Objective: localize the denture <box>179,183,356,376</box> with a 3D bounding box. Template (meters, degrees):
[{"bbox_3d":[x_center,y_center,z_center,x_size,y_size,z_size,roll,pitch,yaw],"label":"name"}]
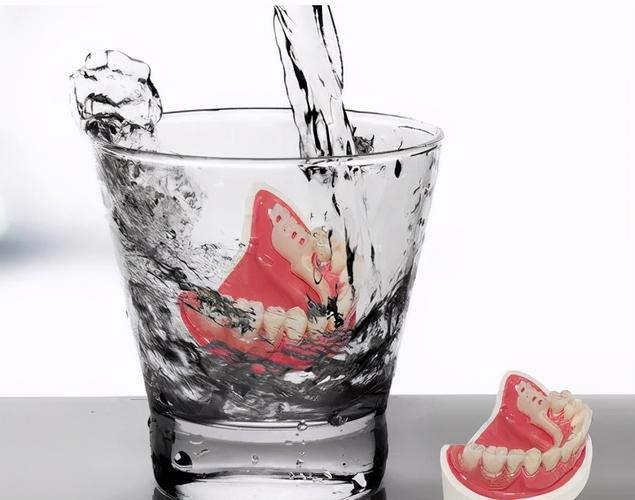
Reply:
[{"bbox_3d":[-0.052,0.017,0.820,0.203,0.165,0.129,-6,8,-31],"label":"denture"}]
